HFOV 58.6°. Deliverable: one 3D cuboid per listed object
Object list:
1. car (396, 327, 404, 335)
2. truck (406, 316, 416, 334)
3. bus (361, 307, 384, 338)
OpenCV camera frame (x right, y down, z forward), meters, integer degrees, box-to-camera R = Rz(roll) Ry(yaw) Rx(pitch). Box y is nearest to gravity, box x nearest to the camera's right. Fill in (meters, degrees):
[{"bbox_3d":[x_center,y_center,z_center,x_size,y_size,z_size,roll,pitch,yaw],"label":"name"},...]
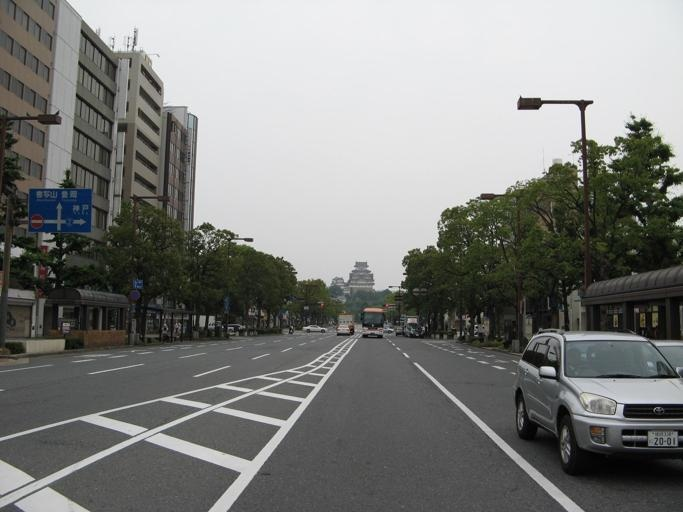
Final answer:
[{"bbox_3d":[11.092,14.631,118.123,1.355,1.443,2.477,-1,-17,-1],"label":"car"},{"bbox_3d":[9.998,9.865,86.271,1.264,2.719,5.154,-1,-10,5],"label":"truck"},{"bbox_3d":[3.841,8.398,74.497,1.657,2.494,5.089,0,-14,2],"label":"bus"}]
